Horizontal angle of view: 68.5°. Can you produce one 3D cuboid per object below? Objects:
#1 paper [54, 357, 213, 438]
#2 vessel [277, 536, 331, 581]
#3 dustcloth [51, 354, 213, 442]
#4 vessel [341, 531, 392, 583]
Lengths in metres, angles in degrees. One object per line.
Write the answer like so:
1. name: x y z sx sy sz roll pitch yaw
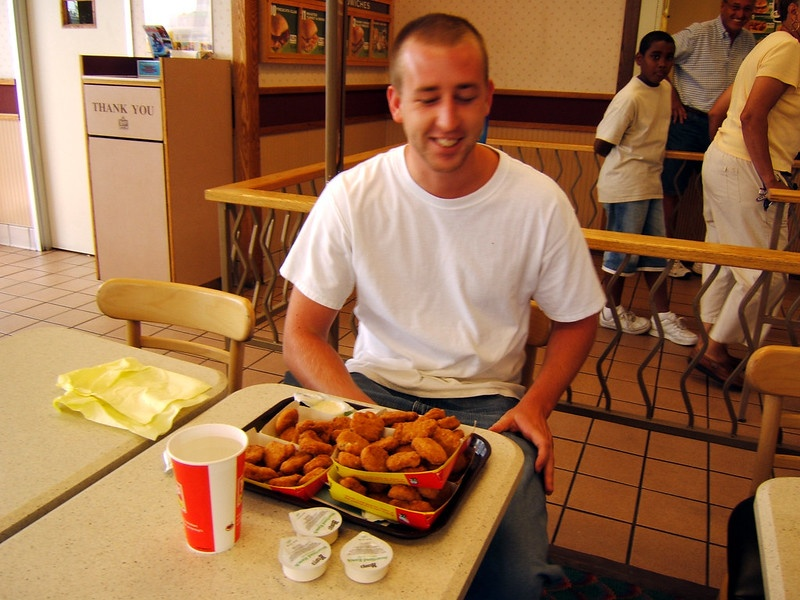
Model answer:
1. paper: -0.619 0.213 1.319 0.233 0.034 0.180 12 24 14
2. vessel: -0.155 0.407 0.930 0.080 0.032 0.068 1 20 -5
3. dustcloth: -0.616 0.196 1.322 0.191 0.031 0.229 18 21 24
4. vessel: -0.056 0.409 0.935 0.078 0.030 0.074 18 25 37
